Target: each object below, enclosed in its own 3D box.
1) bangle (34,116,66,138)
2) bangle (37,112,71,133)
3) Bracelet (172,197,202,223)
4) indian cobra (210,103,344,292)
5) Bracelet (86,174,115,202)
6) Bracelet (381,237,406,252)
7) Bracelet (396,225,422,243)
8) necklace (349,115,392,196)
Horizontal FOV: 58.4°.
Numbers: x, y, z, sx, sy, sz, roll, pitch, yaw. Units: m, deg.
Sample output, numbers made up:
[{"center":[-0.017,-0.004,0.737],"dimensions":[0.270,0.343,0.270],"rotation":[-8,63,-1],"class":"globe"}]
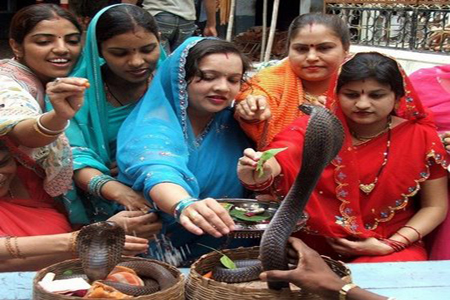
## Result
[{"center":[-1.059,-0.136,2.417],"dimensions":[0.184,0.057,0.122],"rotation":[10,41,-24],"class":"bangle"},{"center":[-1.031,-0.144,2.392],"dimensions":[0.196,0.113,0.058],"rotation":[8,-16,-16],"class":"bangle"},{"center":[-0.235,0.332,2.199],"dimensions":[0.193,0.084,0.174],"rotation":[5,-17,-22],"class":"Bracelet"},{"center":[0.245,0.228,1.893],"dimensions":[0.400,0.882,0.391],"rotation":[17,22,41],"class":"indian cobra"},{"center":[-0.864,0.262,2.802],"dimensions":[0.193,0.174,0.114],"rotation":[2,15,1],"class":"Bracelet"},{"center":[1.176,0.664,2.806],"dimensions":[0.146,0.042,0.093],"rotation":[11,-12,-14],"class":"Bracelet"},{"center":[1.326,0.588,2.882],"dimensions":[0.153,0.033,0.153],"rotation":[31,-4,-41],"class":"Bracelet"},{"center":[1.089,0.089,2.945],"dimensions":[0.220,0.483,0.041],"rotation":[20,-14,4],"class":"necklace"}]
